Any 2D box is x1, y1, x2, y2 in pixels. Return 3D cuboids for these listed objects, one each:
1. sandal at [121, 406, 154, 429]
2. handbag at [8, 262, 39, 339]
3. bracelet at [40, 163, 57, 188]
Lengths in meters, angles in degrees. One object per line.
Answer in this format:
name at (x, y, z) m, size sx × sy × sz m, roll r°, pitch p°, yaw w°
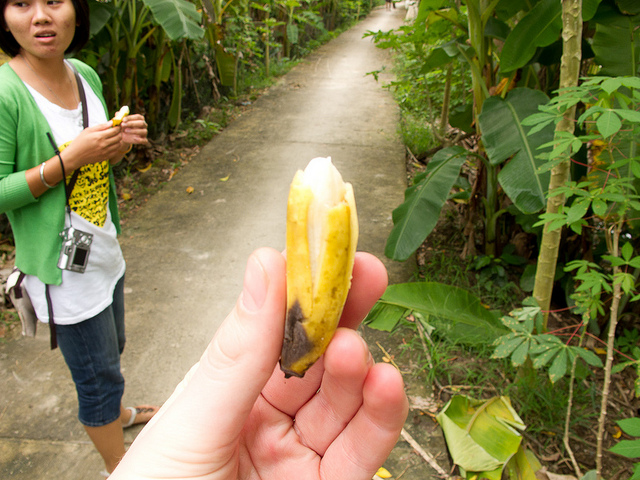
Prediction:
sandal at (-1.298, 1.227, 3.539) m, size 0.086 × 0.098 × 0.241 m, roll 28°, pitch 36°, yaw 34°
handbag at (-1.706, 0.349, 2.872) m, size 0.112 × 0.394 × 0.274 m, roll -6°, pitch 26°, yaw -14°
bracelet at (-1.474, -0.342, 2.675) m, size 0.021 × 0.099 × 0.092 m, roll -14°, pitch 9°, yaw -21°
